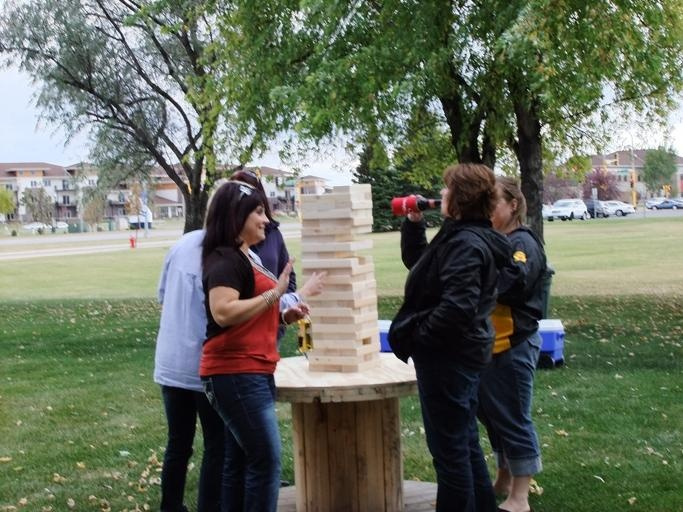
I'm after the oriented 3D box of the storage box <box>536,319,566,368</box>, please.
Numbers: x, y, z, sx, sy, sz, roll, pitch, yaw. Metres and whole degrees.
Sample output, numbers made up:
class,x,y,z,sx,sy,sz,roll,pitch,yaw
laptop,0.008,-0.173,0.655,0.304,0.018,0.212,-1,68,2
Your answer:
class,x,y,z,sx,sy,sz,roll,pitch,yaw
storage box,3.327,1.406,9.392,0.438,0.670,0.452,-3,-5,40

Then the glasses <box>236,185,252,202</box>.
class,x,y,z,sx,sy,sz,roll,pitch,yaw
glasses,-0.672,-0.441,4.079,0.085,0.095,0.024,19,-23,-21

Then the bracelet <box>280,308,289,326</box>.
class,x,y,z,sx,sy,sz,roll,pitch,yaw
bracelet,-0.429,0.457,4.389,0.036,0.115,0.080,2,8,-3

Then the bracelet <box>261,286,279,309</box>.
class,x,y,z,sx,sy,sz,roll,pitch,yaw
bracelet,-0.479,0.274,3.956,0.047,0.115,0.093,37,28,17

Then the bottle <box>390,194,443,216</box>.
class,x,y,z,sx,sy,sz,roll,pitch,yaw
bottle,0.503,-0.391,4.603,0.145,0.166,0.533,0,-2,-35
